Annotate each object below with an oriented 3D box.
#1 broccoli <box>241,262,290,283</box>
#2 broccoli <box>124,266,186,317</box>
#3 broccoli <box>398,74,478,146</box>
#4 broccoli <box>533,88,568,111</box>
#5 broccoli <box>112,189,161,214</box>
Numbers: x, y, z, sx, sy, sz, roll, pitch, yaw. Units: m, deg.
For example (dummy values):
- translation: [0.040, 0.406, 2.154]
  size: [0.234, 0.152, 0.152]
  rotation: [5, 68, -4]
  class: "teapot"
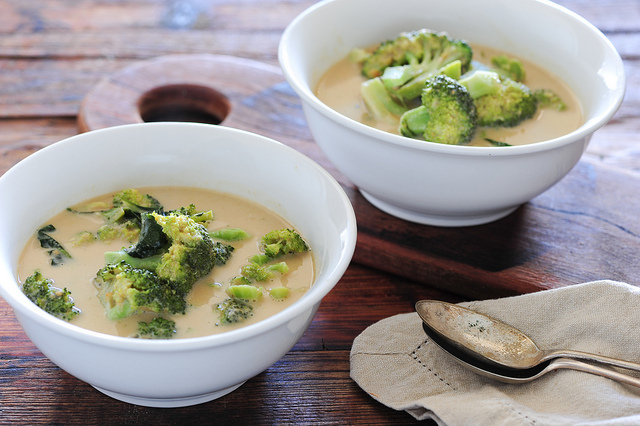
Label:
- translation: [-0.138, 0.133, 1.276]
  size: [0.085, 0.027, 0.048]
  rotation: [-13, 39, -24]
  class: "broccoli"
- translation: [-0.366, 0.162, 1.206]
  size: [0.118, 0.086, 0.126]
  rotation: [-7, 58, -2]
  class: "broccoli"
- translation: [0.342, -0.300, 1.586]
  size: [0.191, 0.178, 0.344]
  rotation: [-8, 15, -16]
  class: "broccoli"
- translation: [0.725, -0.359, 1.731]
  size: [0.109, 0.030, 0.055]
  rotation: [6, 70, 11]
  class: "broccoli"
- translation: [-0.472, -0.022, 1.396]
  size: [0.091, 0.028, 0.080]
  rotation: [2, 19, -43]
  class: "broccoli"
